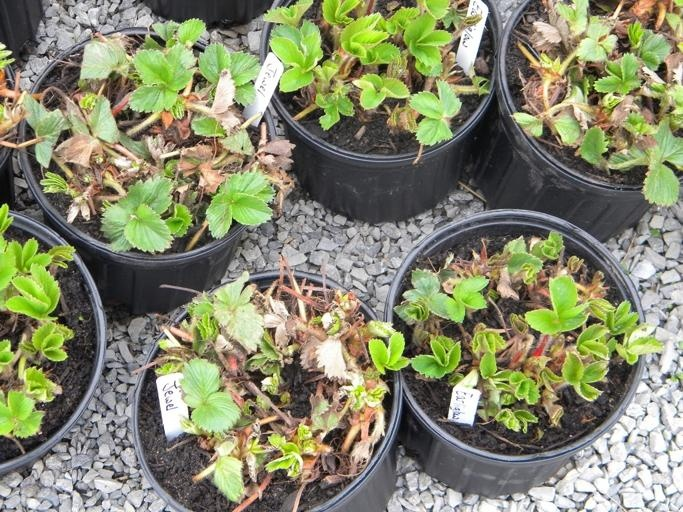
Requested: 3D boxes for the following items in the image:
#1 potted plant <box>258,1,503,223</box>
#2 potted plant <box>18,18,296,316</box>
[{"bbox_3d":[0.174,-0.364,2.343,0.823,0.593,0.887,31,71,12],"label":"potted plant"},{"bbox_3d":[-0.668,-0.308,2.317,0.922,0.750,1.041,32,77,2],"label":"potted plant"}]
